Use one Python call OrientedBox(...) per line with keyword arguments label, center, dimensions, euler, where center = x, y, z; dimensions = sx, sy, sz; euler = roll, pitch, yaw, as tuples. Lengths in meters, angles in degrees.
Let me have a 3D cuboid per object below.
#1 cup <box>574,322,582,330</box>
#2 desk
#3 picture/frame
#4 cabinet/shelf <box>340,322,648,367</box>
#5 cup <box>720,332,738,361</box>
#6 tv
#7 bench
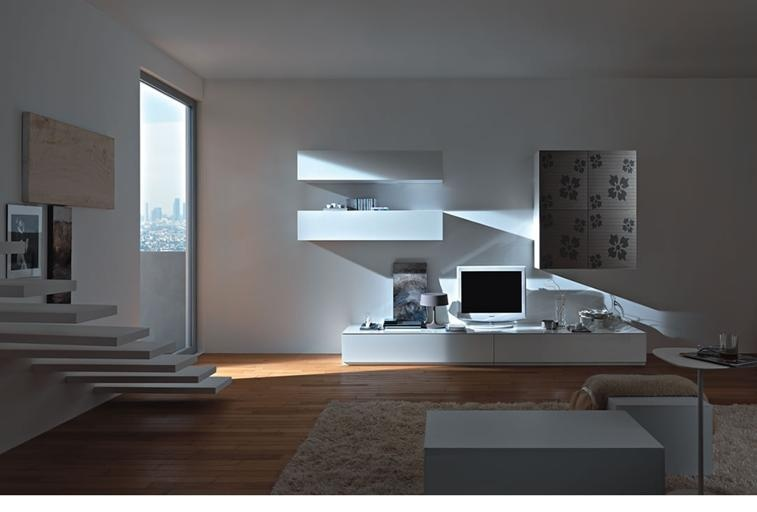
OrientedBox(label="cup", center=(2.278, 0.801, 6.775), dimensions=(0.073, 0.064, 0.074), euler=(1, -3, 0))
OrientedBox(label="desk", center=(2.370, 1.177, 4.373), dimensions=(0.600, 0.959, 0.511), euler=(-5, 11, -23))
OrientedBox(label="picture/frame", center=(-2.797, -0.029, 4.841), dimensions=(0.094, 0.842, 0.929), euler=(-1, -1, 27))
OrientedBox(label="cabinet/shelf", center=(1.295, 1.034, 6.754), dimensions=(3.410, 0.391, 0.174), euler=(0, 10, 1))
OrientedBox(label="cup", center=(2.523, 0.639, 4.264), dimensions=(0.122, 0.182, 0.159), euler=(5, 11, 27))
OrientedBox(label="tv", center=(1.352, 0.476, 7.032), dimensions=(0.771, 0.640, 0.249), euler=(0, -2, 3))
OrientedBox(label="bench", center=(1.081, 1.348, 4.046), dimensions=(1.551, 0.343, 0.487), euler=(0, 10, 1))
